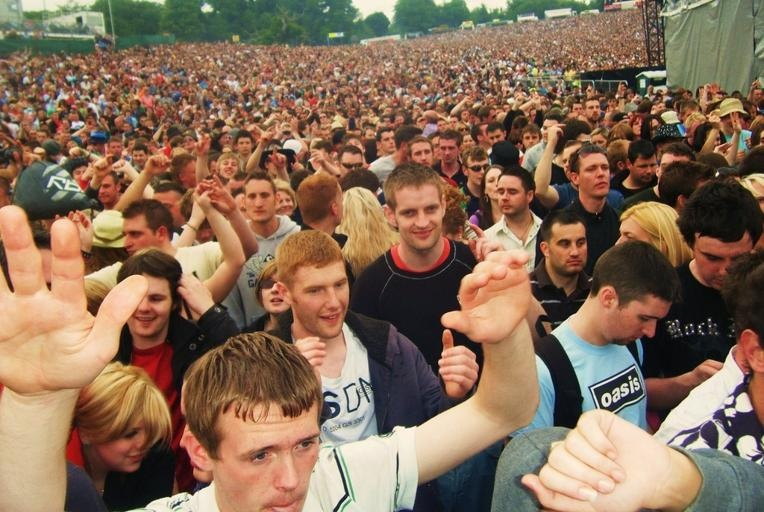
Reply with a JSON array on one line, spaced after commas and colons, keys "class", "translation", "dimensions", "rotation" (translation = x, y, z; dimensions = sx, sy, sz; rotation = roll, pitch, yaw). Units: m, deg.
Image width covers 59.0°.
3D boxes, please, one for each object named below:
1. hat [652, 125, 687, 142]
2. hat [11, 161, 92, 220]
[{"class": "hat", "translation": [4.040, -1.711, 9.460], "dimensions": [0.464, 0.260, 0.264], "rotation": [-16, 25, -21]}, {"class": "hat", "translation": [-2.504, -0.616, 5.243], "dimensions": [0.531, 0.623, 0.305], "rotation": [3, 36, -25]}]
